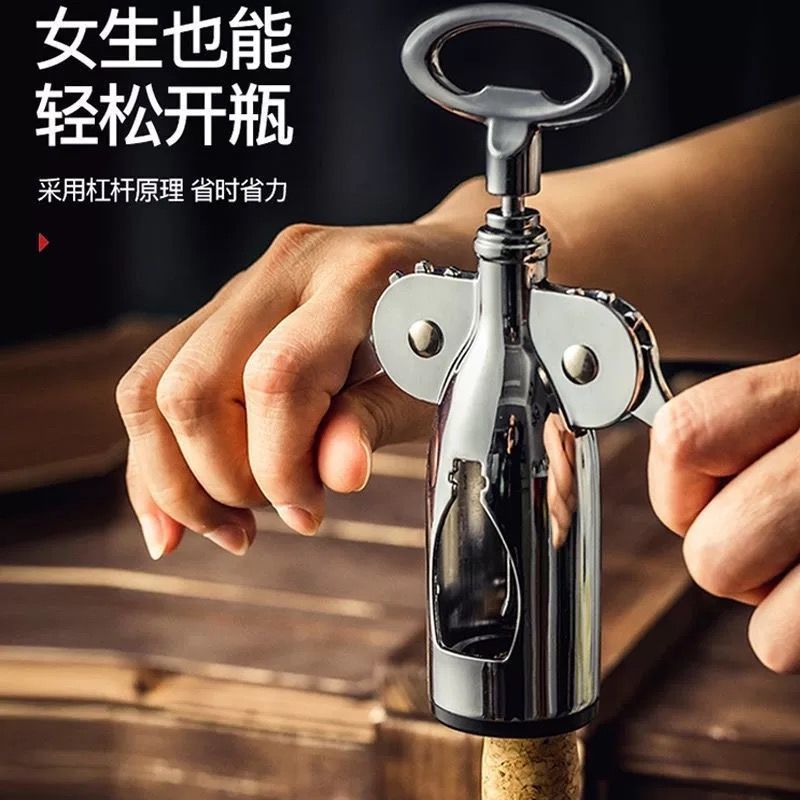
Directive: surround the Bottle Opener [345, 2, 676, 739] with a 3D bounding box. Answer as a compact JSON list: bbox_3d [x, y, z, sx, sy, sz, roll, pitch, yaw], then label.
[{"bbox_3d":[0.047,-0.005,0.372,0.104,0.238,0.130,-7,36,-5],"label":"Bottle Opener"}]
